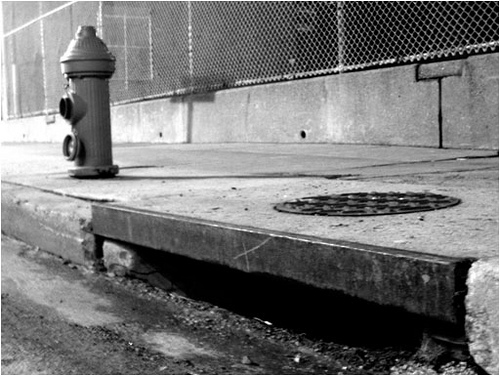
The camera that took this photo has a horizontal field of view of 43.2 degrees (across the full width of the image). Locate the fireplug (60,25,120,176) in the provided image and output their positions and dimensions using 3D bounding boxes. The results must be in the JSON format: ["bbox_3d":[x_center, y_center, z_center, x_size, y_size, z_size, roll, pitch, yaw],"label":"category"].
[{"bbox_3d":[-1.599,-0.848,6.278,0.548,1.455,0.531,-4,6,-16],"label":"fireplug"}]
